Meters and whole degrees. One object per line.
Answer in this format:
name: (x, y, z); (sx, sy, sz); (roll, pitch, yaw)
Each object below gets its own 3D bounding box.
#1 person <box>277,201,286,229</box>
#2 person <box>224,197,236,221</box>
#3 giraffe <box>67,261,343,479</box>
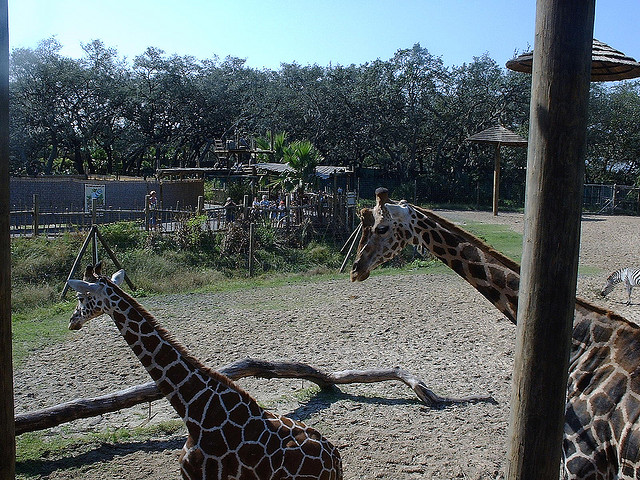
person: (-1.462, -0.971, 25.345); (0.330, 0.882, 1.414); (-2, 7, -3)
person: (-3.296, -1.123, 24.220); (0.390, 0.729, 0.722); (-3, 7, -10)
giraffe: (-1.099, 1.381, 6.442); (2.514, 1.946, 0.628); (0, 6, 17)
